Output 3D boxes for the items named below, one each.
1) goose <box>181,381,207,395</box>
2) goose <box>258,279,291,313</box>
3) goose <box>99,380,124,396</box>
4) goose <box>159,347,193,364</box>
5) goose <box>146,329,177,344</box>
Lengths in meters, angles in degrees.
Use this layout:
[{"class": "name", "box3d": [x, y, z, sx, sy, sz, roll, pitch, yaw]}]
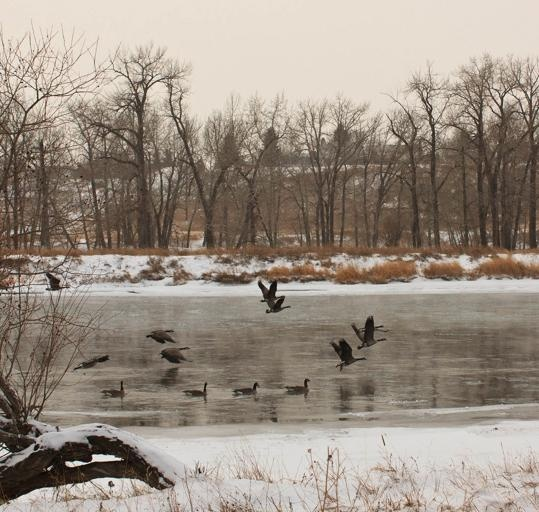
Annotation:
[{"class": "goose", "box3d": [-1.754, 3.057, 31.154, 0.547, 0.312, 0.852, -4, -1, -5]}, {"class": "goose", "box3d": [0.069, 0.774, 35.154, 0.697, 0.552, 1.282, -26, -29, -12]}, {"class": "goose", "box3d": [-3.649, 3.040, 31.076, 0.559, 0.389, 0.888, -3, -1, -22]}, {"class": "goose", "box3d": [-2.501, 2.471, 34.025, 0.490, 0.293, 0.531, -5, -2, 3]}, {"class": "goose", "box3d": [-3.002, 2.123, 36.142, 0.513, 0.373, 0.889, -22, 1, -25]}]
